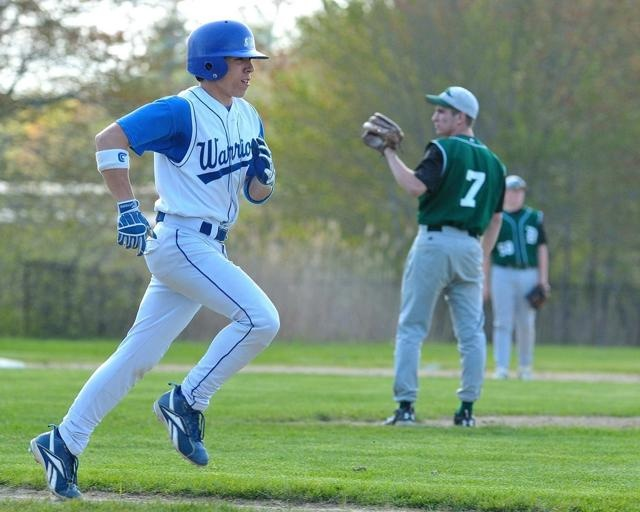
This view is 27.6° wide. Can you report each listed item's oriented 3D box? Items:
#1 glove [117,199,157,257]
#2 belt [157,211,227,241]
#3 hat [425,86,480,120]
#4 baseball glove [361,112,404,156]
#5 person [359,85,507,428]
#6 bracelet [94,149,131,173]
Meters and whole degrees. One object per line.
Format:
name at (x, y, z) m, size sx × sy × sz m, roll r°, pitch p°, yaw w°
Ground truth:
glove at (-1.431, -0.211, 10.229) m, size 0.356 × 0.456 × 0.117 m, roll -9°, pitch 1°, yaw -30°
belt at (-1.003, -0.247, 10.373) m, size 0.401 × 0.086 × 0.281 m, roll 14°, pitch 2°, yaw -16°
hat at (1.227, -1.410, 11.934) m, size 0.497 × 0.233 × 0.305 m, roll 16°, pitch -1°, yaw 2°
baseball glove at (0.564, -1.110, 11.782) m, size 0.356 × 0.357 × 0.255 m, roll -1°, pitch 13°, yaw 2°
person at (0.904, 0.061, 12.082) m, size 1.140 × 3.214 × 1.368 m, roll 7°, pitch 10°, yaw 15°
bracelet at (-1.604, -0.748, 10.184) m, size 0.199 × 0.130 × 0.199 m, roll -5°, pitch 0°, yaw 32°
